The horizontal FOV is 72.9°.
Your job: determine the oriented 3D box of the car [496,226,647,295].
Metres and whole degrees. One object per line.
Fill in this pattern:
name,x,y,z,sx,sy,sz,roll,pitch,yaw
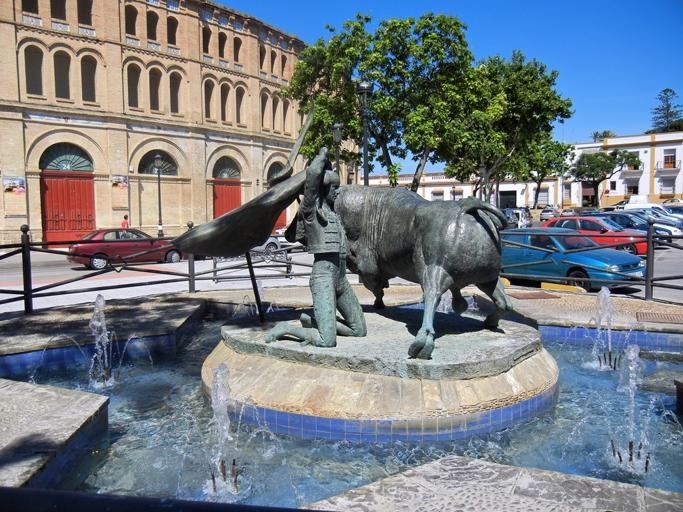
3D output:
car,5.637,0.090,11.537,3.155,1.623,4.120,2,7,18

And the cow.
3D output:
cow,0.827,0.027,5.175,1.765,1.667,1.553,6,9,44
